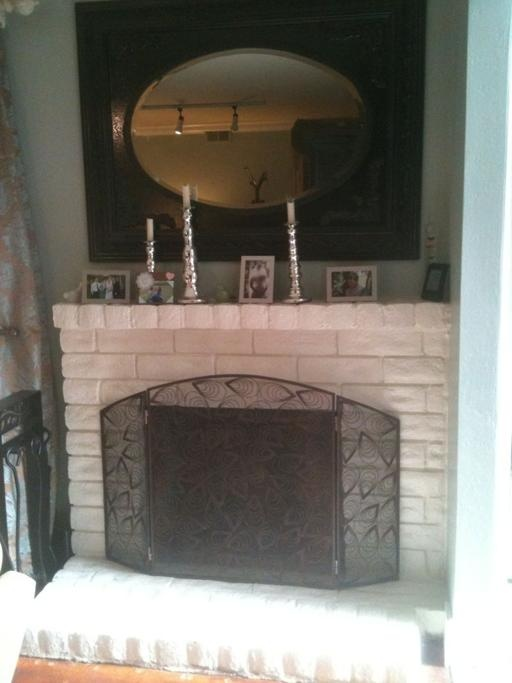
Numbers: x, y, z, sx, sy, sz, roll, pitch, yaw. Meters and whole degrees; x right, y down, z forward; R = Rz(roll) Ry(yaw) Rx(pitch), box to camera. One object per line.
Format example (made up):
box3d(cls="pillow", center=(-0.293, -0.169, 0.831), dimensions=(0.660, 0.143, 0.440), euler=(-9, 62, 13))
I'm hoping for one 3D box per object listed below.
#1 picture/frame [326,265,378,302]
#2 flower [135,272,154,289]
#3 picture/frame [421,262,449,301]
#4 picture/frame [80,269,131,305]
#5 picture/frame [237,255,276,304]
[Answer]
box3d(cls="picture/frame", center=(0.321, -0.192, 2.171), dimensions=(0.144, 0.098, 0.005), euler=(1, -3, 15))
box3d(cls="flower", center=(-0.379, -0.209, 2.229), dimensions=(0.060, 0.058, 0.018), euler=(-1, 3, -7))
box3d(cls="picture/frame", center=(0.578, -0.193, 2.095), dimensions=(0.086, 0.128, 0.125), euler=(0, 3, 13))
box3d(cls="picture/frame", center=(-0.529, -0.190, 2.274), dimensions=(0.144, 0.092, 0.006), euler=(0, 1, 0))
box3d(cls="picture/frame", center=(0.000, -0.215, 2.213), dimensions=(0.115, 0.166, 0.133), euler=(0, 3, -1))
